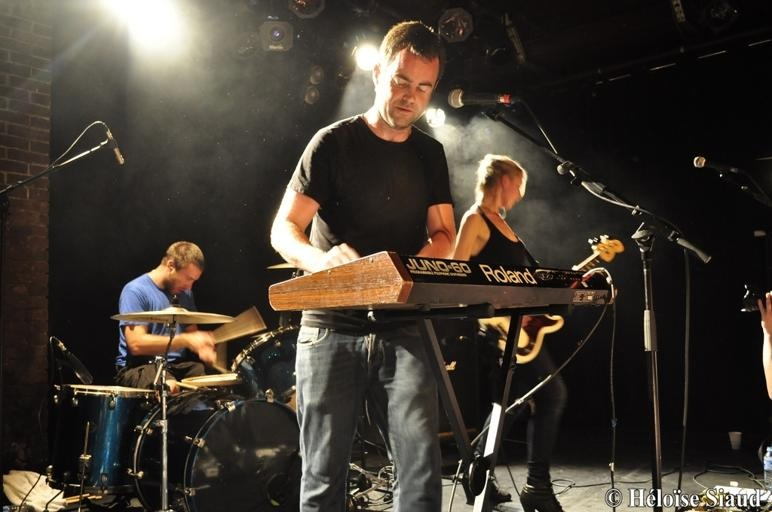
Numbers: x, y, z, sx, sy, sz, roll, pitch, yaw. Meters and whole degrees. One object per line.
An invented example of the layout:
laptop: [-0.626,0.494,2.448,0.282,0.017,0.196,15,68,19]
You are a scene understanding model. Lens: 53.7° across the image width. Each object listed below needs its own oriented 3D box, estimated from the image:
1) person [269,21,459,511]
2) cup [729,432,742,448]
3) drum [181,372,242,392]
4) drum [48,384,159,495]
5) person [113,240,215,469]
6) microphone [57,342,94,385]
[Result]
person: [-0.130,-0.060,4.737,1.100,3.153,0.921,-2,-18,4]
cup: [3.477,1.835,7.582,0.152,0.156,0.150,2,-9,0]
drum: [-1.474,1.050,6.383,0.509,0.191,0.330,3,-18,-12]
drum: [-2.557,1.539,6.351,0.978,0.777,0.913,3,-16,1]
person: [-1.913,0.880,6.467,0.948,1.604,0.825,-26,-43,6]
microphone: [-2.592,0.872,6.277,0.306,0.378,0.167,8,-20,-26]
